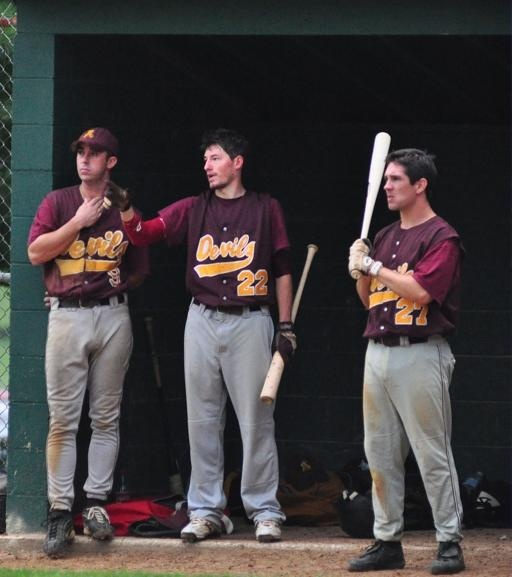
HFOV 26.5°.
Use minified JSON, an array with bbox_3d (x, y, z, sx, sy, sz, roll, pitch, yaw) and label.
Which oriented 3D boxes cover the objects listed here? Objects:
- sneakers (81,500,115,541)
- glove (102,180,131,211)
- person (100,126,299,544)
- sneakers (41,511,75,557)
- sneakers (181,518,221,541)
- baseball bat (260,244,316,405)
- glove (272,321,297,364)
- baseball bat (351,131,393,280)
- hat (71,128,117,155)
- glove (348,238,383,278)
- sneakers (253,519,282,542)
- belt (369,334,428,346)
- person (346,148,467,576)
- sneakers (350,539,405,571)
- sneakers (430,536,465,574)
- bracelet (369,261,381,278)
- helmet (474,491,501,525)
[{"bbox_3d":[-0.764,1.117,5.211,0.098,0.103,0.260,2,-2,-29],"label":"sneakers"},{"bbox_3d":[-0.650,-0.444,5.148,0.106,0.147,0.052,-49,-2,32],"label":"glove"},{"bbox_3d":[-0.195,0.212,5.307,0.757,1.993,0.423,1,2,1],"label":"person"},{"bbox_3d":[-0.940,1.165,5.169,0.122,0.216,0.175,1,2,7],"label":"sneakers"},{"bbox_3d":[-0.254,1.151,5.206,0.082,0.096,0.216,-17,-21,38],"label":"sneakers"},{"bbox_3d":[0.167,0.175,5.755,0.121,1.080,0.098,20,-30,1],"label":"baseball bat"},{"bbox_3d":[0.135,0.254,5.267,0.144,0.166,0.087,3,-10,33],"label":"glove"},{"bbox_3d":[0.510,-0.386,5.081,0.113,0.678,0.089,15,4,27],"label":"baseball bat"},{"bbox_3d":[-0.797,-0.735,5.424,0.133,0.095,0.186,16,-5,43],"label":"hat"},{"bbox_3d":[0.466,-0.135,4.842,0.140,0.172,0.053,-14,-41,-8],"label":"glove"},{"bbox_3d":[0.054,1.157,5.221,0.118,0.101,0.171,0,2,-3],"label":"sneakers"},{"bbox_3d":[0.626,0.232,4.861,0.270,0.053,0.067,2,2,33],"label":"belt"},{"bbox_3d":[0.682,0.315,4.924,0.523,1.893,0.416,1,2,8],"label":"person"},{"bbox_3d":[0.548,1.200,4.860,0.299,0.155,0.104,2,-13,3],"label":"sneakers"},{"bbox_3d":[0.838,1.195,4.833,0.175,0.155,0.115,6,-12,-9],"label":"sneakers"},{"bbox_3d":[0.517,-0.084,4.784,0.049,0.059,0.023,3,-13,22],"label":"bracelet"},{"bbox_3d":[1.203,1.143,5.647,0.130,0.151,0.139,2,2,23],"label":"helmet"}]
